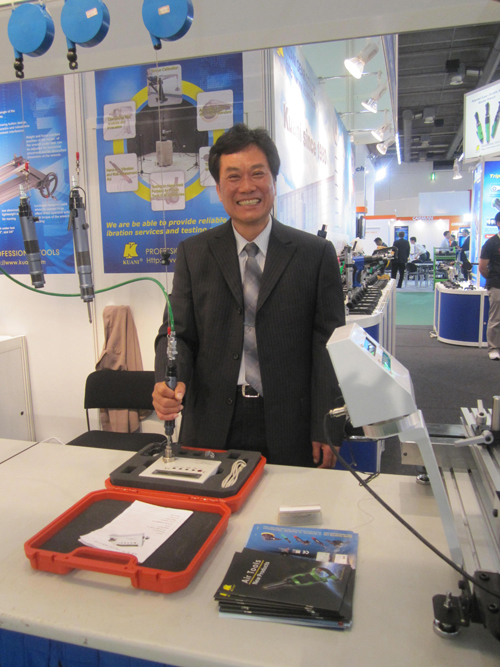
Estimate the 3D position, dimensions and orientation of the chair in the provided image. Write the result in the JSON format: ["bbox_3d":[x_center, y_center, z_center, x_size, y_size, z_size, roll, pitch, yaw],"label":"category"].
[{"bbox_3d":[-0.632,0.352,2.433,0.365,0.599,0.418,1,2,-2],"label":"chair"}]

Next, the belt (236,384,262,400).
[{"bbox_3d":[-0.001,0.176,1.459,0.063,0.036,0.015,3,10,12],"label":"belt"}]

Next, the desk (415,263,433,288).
[{"bbox_3d":[4.941,-1.694,14.082,0.782,0.819,0.799,1,7,19],"label":"desk"}]

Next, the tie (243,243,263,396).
[{"bbox_3d":[0.005,-0.045,1.475,0.066,0.447,0.100,-2,9,2],"label":"tie"}]

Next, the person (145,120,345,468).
[{"bbox_3d":[0.019,-0.072,1.467,0.529,1.019,0.321,-3,9,-1],"label":"person"}]

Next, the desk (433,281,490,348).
[{"bbox_3d":[2.720,-0.261,6.326,0.618,0.751,1.159,6,12,28],"label":"desk"}]
